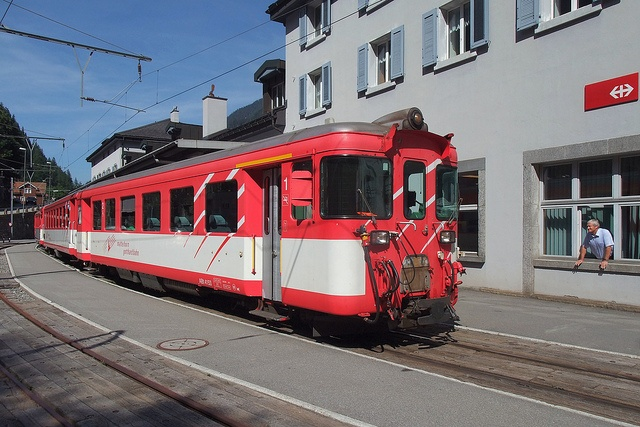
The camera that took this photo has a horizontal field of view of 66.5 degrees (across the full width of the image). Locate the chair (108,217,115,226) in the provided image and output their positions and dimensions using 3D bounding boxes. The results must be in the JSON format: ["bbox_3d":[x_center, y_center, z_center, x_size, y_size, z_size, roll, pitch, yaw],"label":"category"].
[{"bbox_3d":[-7.337,0.271,17.222,0.207,0.225,0.150,-10,-17,40],"label":"chair"}]

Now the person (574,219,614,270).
[{"bbox_3d":[7.563,0.928,13.416,0.687,1.469,0.826,-7,2,-42],"label":"person"}]

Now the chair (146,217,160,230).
[{"bbox_3d":[-4.984,0.310,14.599,0.303,0.286,0.538,3,-14,-29],"label":"chair"}]

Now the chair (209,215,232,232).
[{"bbox_3d":[-2.493,0.265,11.990,0.349,0.327,0.581,2,-7,-31],"label":"chair"}]

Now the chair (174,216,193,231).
[{"bbox_3d":[-3.699,0.275,13.257,0.338,0.311,0.587,1,-6,-35],"label":"chair"}]
